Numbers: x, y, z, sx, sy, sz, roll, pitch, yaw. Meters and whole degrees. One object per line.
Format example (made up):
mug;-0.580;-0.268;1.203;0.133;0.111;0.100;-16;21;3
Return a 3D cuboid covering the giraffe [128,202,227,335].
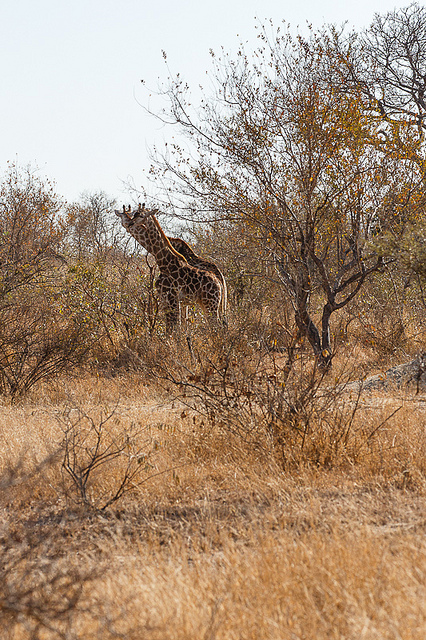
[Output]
giraffe;-0.464;-0.752;12.128;1.289;1.730;2.205;-8;13;-15
